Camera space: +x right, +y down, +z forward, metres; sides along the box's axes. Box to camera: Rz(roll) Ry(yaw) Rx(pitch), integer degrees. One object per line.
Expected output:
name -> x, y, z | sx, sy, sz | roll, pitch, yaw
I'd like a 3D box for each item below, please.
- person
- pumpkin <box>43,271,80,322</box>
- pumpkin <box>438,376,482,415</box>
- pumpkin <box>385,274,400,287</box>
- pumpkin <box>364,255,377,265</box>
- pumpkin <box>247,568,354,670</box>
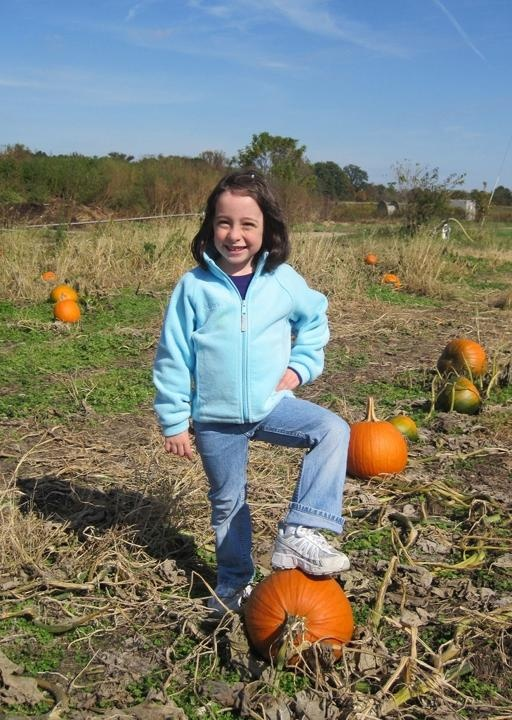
person -> 0.072, 0.153, 2.276 | 0.815, 1.678, 0.535 | 13, 16, 32
pumpkin -> -2.461, -0.774, 7.557 | 0.391, 0.253, 0.821 | -14, 32, -14
pumpkin -> 1.631, 0.279, 4.844 | 0.307, 0.326, 0.295 | 0, 34, 9
pumpkin -> 2.433, -1.396, 10.551 | 0.333, 0.235, 0.368 | 7, 13, 12
pumpkin -> 2.248, -1.940, 11.493 | 0.184, 0.173, 0.234 | 6, 8, -5
pumpkin -> 0.167, 0.914, 2.086 | 0.359, 0.301, 0.293 | 0, 14, -19
